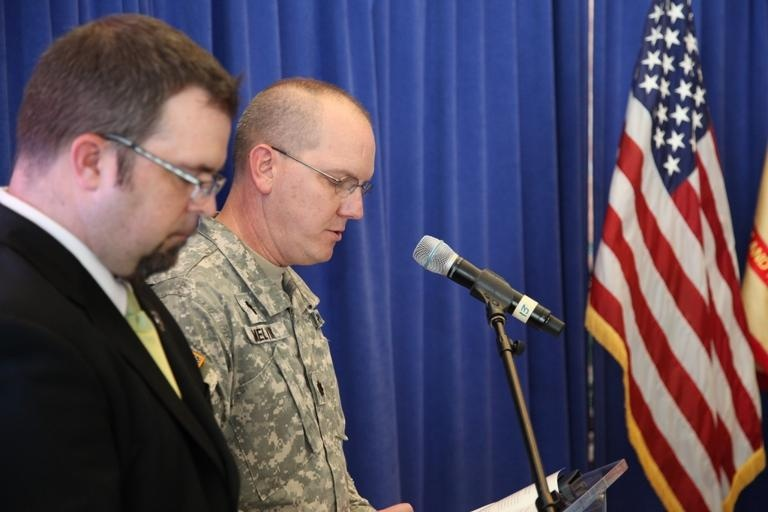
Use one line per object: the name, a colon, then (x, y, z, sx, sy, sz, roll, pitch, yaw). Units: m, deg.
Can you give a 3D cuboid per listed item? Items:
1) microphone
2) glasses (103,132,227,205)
microphone: (0.378, 0.118, 3.512, 0.485, 0.140, 0.138, 33, 28, 9)
glasses: (-0.569, -0.234, 2.462, 0.196, 0.060, 0.205, 32, 0, -2)
